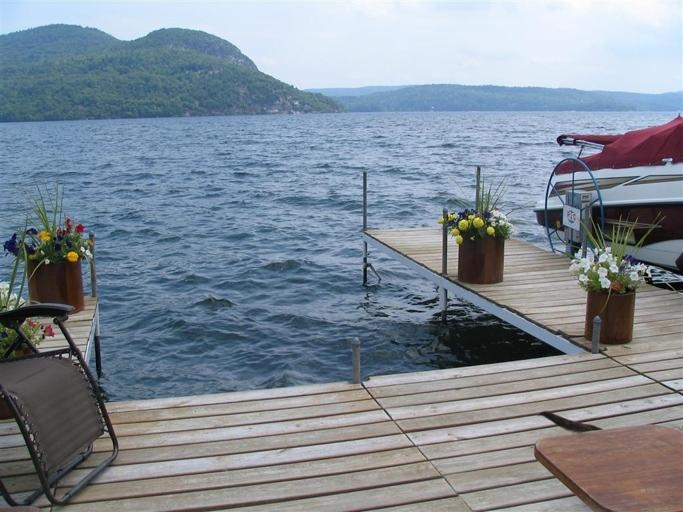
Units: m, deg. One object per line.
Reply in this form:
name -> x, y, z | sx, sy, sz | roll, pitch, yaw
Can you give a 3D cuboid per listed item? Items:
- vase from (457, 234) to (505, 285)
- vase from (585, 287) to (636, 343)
vase -> 1.364, 0.040, 6.157 | 0.505, 0.407, 0.419 | -5, 9, -34
vase -> 1.957, 0.440, 4.937 | 0.425, 0.385, 0.397 | 1, 3, 7
